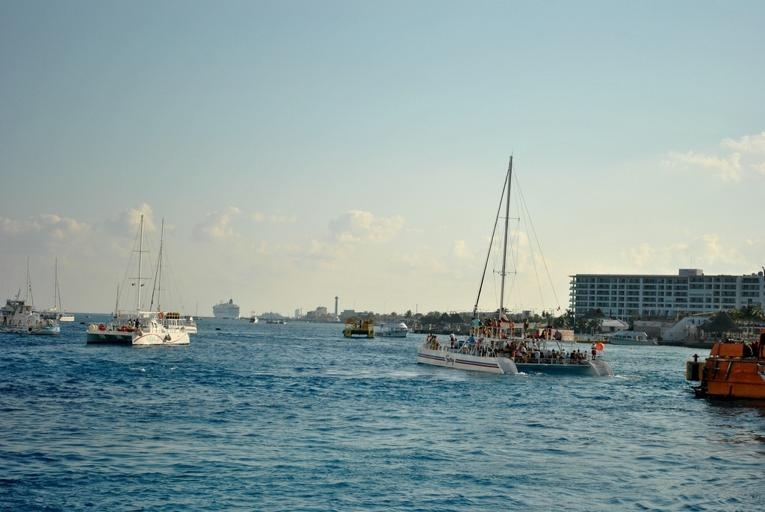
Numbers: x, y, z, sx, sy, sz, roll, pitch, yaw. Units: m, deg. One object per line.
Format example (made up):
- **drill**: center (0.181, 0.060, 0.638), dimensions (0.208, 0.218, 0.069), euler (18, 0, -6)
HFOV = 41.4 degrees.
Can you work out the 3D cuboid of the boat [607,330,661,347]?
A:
- **boat**: center (51.421, 17.005, 205.799), dimensions (7.024, 2.342, 11.429), euler (0, 1, -10)
